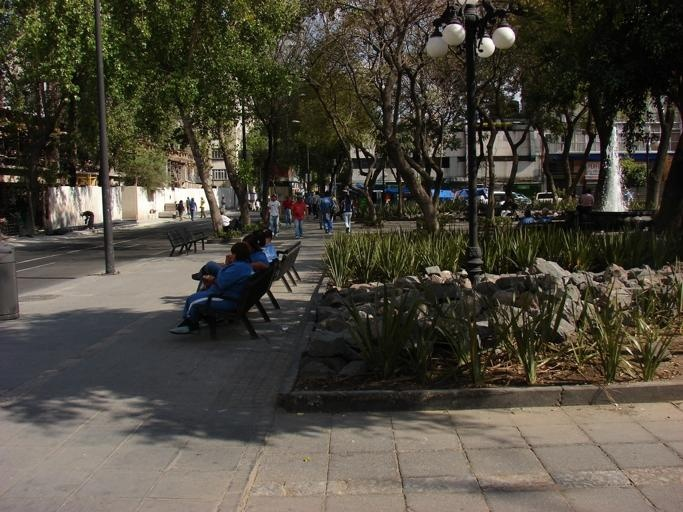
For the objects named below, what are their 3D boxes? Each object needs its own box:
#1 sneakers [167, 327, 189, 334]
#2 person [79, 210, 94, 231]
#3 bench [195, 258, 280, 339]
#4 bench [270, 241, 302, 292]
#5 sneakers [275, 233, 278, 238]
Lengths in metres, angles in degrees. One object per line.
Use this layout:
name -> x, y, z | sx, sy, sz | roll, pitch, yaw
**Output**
sneakers -> -2.416, 1.093, 9.400 | 0.277, 0.137, 0.102 | 2, 1, -4
person -> -16.980, -2.404, 42.475 | 0.718, 1.206, 1.575 | -4, 7, -23
bench -> -1.519, 0.680, 9.596 | 0.964, 0.978, 1.312 | -1, 6, 3
bench -> -1.130, 0.211, 12.220 | 0.440, 0.580, 1.290 | -16, 13, 1
sneakers -> -2.991, -0.939, 29.352 | 0.073, 0.202, 0.109 | 19, -35, -10
